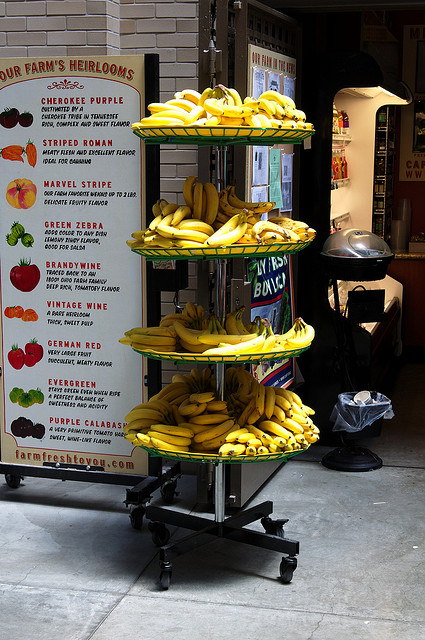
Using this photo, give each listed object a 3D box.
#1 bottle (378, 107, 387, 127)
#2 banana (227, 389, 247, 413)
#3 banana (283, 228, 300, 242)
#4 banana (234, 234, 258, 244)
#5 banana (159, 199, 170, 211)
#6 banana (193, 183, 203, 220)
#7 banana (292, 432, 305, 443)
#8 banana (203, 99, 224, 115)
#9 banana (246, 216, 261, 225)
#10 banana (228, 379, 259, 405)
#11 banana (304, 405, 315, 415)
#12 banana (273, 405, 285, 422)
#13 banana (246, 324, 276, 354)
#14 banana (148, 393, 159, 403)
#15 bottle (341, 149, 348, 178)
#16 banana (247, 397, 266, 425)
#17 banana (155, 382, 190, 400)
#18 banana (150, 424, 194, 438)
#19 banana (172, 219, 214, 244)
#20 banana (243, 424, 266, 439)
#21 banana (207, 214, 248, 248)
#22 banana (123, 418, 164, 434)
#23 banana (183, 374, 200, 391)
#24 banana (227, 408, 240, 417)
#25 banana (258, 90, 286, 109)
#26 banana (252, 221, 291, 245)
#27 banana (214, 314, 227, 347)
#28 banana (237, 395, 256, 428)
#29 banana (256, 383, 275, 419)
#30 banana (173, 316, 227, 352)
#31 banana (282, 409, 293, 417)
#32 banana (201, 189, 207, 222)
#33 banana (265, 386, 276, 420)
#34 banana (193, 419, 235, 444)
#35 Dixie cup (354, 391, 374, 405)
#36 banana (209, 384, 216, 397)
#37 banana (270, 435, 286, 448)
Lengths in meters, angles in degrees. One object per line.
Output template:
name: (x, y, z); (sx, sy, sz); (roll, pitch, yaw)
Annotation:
bottle: (1.904, -2.254, 7.201); (0.058, 0.217, 0.190); (1, 2, 27)
banana: (0.099, 0.328, 2.602); (0.045, 0.125, 0.032); (-40, 2, -8)
banana: (0.275, -0.293, 2.242); (0.037, 0.017, 0.058); (20, 12, -30)
banana: (0.115, -0.271, 2.154); (0.062, 0.019, 0.034); (-1, 0, 18)
banana: (-0.188, -0.449, 2.495); (0.032, 0.053, 0.018); (0, -9, 3)
banana: (-0.051, -0.422, 2.304); (0.029, 0.115, 0.045); (4, 10, 3)
banana: (0.330, 0.443, 2.427); (0.025, 0.015, 0.045); (-17, 41, -19)
banana: (0.005, -0.702, 2.136); (0.048, 0.022, 0.087); (-12, 27, -7)
banana: (0.144, -0.341, 2.270); (0.040, 0.010, 0.041); (14, 34, 22)
banana: (0.138, 0.283, 2.593); (0.077, 0.031, 0.096); (-15, -10, -20)
banana: (0.413, 0.388, 2.703); (0.048, 0.019, 0.078); (16, 2, 6)
banana: (0.253, 0.354, 2.451); (0.022, 0.026, 0.077); (-9, 39, -7)
banana: (0.179, 0.076, 2.261); (0.046, 0.090, 0.137); (6, 43, 27)
banana: (-0.246, 0.322, 2.674); (0.009, 0.013, 0.048); (39, 66, 18)
bottle: (1.219, -1.446, 5.946); (0.026, 0.267, 0.223); (0, 2, 19)
banana: (0.160, 0.354, 2.448); (0.036, 0.133, 0.045); (32, -26, -10)
banana: (-0.179, 0.284, 2.720); (0.110, 0.030, 0.066); (-24, 38, -17)
banana: (-0.148, 0.407, 2.380); (0.206, 0.051, 0.051); (0, -20, 11)
banana: (-0.061, -0.298, 2.172); (0.083, 0.027, 0.108); (36, 18, 18)
banana: (0.152, 0.403, 2.348); (0.022, 0.028, 0.107); (36, -10, -33)
banana: (0.064, -0.293, 2.125); (0.063, 0.118, 0.191); (1, 2, 37)
banana: (-0.284, 0.419, 2.553); (0.113, 0.034, 0.061); (-13, -24, -6)
banana: (-0.088, 0.265, 2.726); (0.020, 0.071, 0.011); (-29, -21, -6)
banana: (0.077, 0.362, 2.517); (0.015, 0.017, 0.065); (17, 8, 17)
banana: (0.218, -0.825, 2.399); (0.032, 0.063, 0.112); (1, 20, -43)
banana: (0.196, -0.305, 2.199); (0.036, 0.070, 0.132); (-26, -11, 39)
banana: (0.027, 0.029, 2.323); (0.021, 0.084, 0.030); (-33, -32, 28)
banana: (0.132, 0.355, 2.469); (0.039, 0.024, 0.115); (10, 57, 47)
banana: (0.198, 0.301, 2.415); (0.043, 0.060, 0.118); (30, 30, -28)
banana: (-0.025, 0.050, 2.340); (0.186, 0.112, 0.104); (-21, 31, -32)
banana: (0.297, 0.361, 2.507); (0.014, 0.052, 0.017); (-45, 2, 0)
banana: (-0.037, -0.421, 2.334); (0.021, 0.093, 0.034); (-2, -1, -23)
banana: (0.208, 0.311, 2.416); (0.033, 0.115, 0.039); (11, -39, -22)
banana: (0.007, 0.413, 2.378); (0.123, 0.030, 0.040); (-25, 47, 1)
Dixie cup: (0.907, 0.463, 3.871); (0.106, 0.059, 0.104); (0, 2, 0)
banana: (0.001, 0.283, 2.568); (0.012, 0.044, 0.049); (4, -7, -34)
banana: (0.233, 0.427, 2.292); (0.027, 0.019, 0.069); (-21, 15, -13)
